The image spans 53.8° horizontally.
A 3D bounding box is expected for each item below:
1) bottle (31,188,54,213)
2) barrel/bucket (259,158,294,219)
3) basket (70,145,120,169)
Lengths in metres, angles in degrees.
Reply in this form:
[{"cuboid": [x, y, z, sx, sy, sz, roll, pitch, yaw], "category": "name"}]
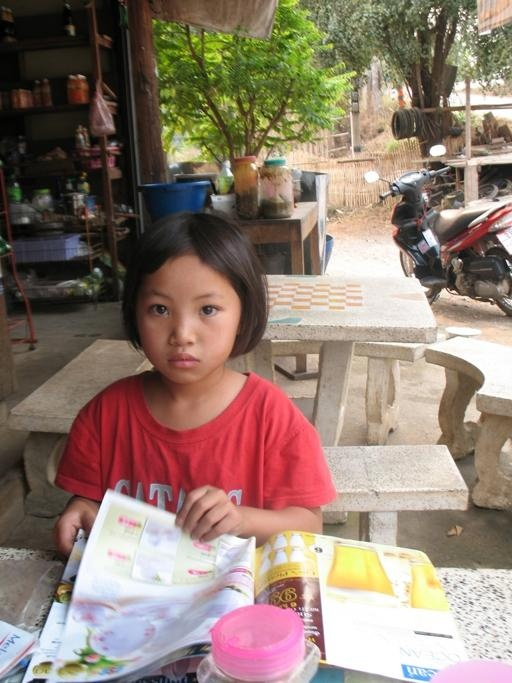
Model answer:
[{"cuboid": [-2.624, -1.683, 6.100, 0.247, 0.271, 0.377, -10, 18, -20], "category": "bottle"}, {"cuboid": [0.110, -0.896, 2.981, 0.204, 0.318, 0.202, -4, 21, 1], "category": "barrel/bucket"}, {"cuboid": [-1.944, -2.209, 6.053, 0.546, 0.287, 0.673, -6, 17, -11], "category": "basket"}]
